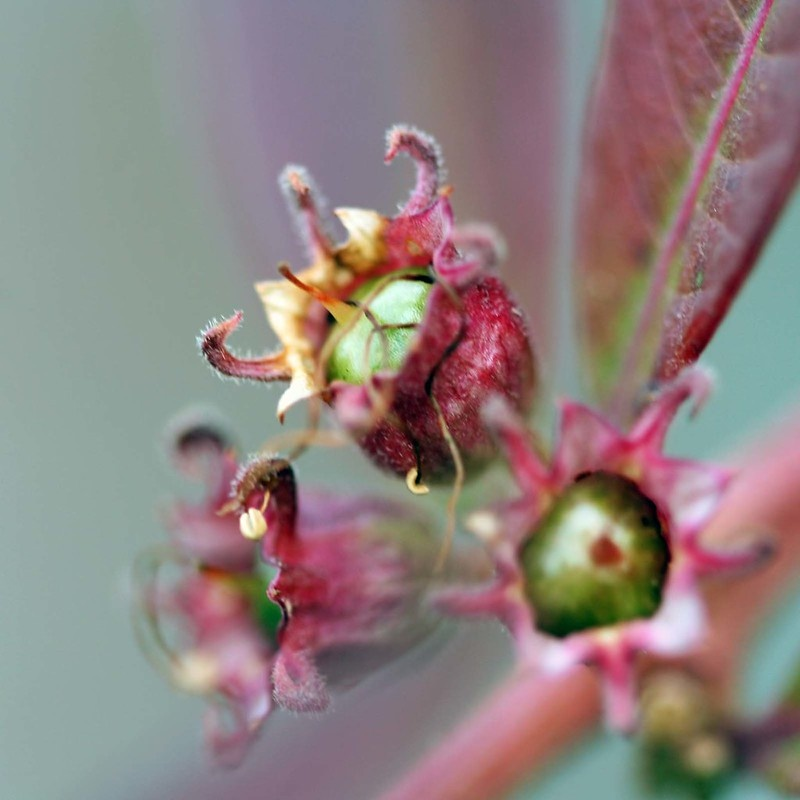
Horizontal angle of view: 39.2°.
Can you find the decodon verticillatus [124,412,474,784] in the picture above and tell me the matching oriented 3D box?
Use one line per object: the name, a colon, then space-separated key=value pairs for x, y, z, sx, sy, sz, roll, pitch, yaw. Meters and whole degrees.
decodon verticillatus: x=-0.043 y=0.140 z=0.776 sx=0.247 sy=0.199 sz=0.170 roll=3 pitch=-2 yaw=-26
